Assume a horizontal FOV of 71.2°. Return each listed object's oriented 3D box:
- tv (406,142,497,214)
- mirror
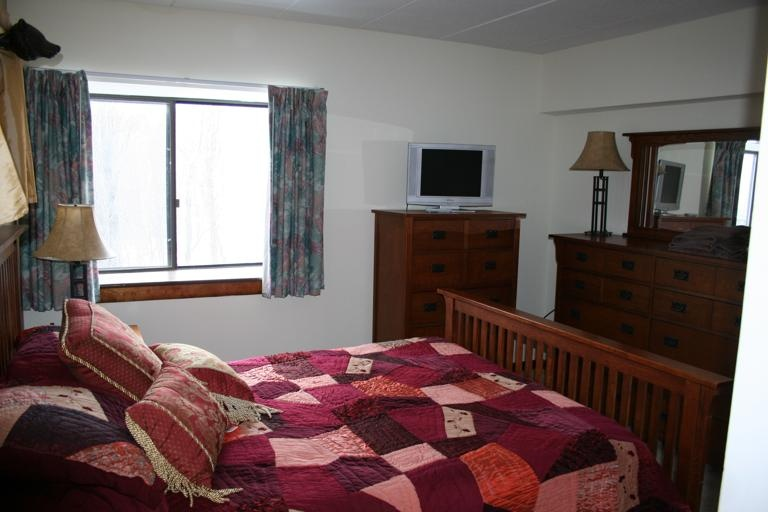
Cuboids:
[{"bbox_3d":[0.589,-0.715,4.872,0.756,0.486,0.191,0,8,-11],"label":"tv"},{"bbox_3d":[2.431,-0.554,4.245,0.173,0.994,1.231,-1,2,-41],"label":"mirror"}]
